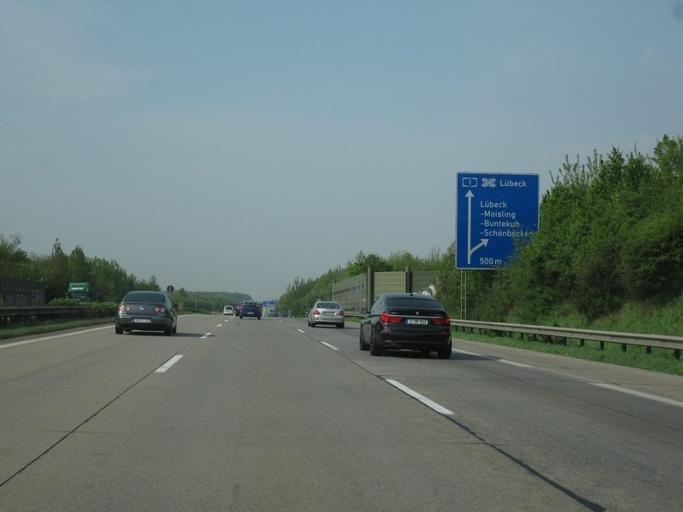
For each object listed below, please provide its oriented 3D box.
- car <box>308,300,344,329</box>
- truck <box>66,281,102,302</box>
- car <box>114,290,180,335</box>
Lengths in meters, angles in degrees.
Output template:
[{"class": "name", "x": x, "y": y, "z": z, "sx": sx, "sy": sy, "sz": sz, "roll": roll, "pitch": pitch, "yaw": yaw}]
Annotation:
[{"class": "car", "x": -0.905, "y": 3.190, "z": 38.794, "sx": 1.389, "sy": 0.912, "sz": 2.603, "roll": 1, "pitch": -1, "yaw": -28}, {"class": "truck", "x": -31.755, "y": 4.424, "z": 88.097, "sx": 1.999, "sy": 1.533, "sz": 2.909, "roll": 0, "pitch": -7, "yaw": -1}, {"class": "car", "x": -6.586, "y": 1.896, "z": 24.712, "sx": 1.043, "sy": 0.957, "sz": 2.422, "roll": 1, "pitch": 0, "yaw": -5}]
